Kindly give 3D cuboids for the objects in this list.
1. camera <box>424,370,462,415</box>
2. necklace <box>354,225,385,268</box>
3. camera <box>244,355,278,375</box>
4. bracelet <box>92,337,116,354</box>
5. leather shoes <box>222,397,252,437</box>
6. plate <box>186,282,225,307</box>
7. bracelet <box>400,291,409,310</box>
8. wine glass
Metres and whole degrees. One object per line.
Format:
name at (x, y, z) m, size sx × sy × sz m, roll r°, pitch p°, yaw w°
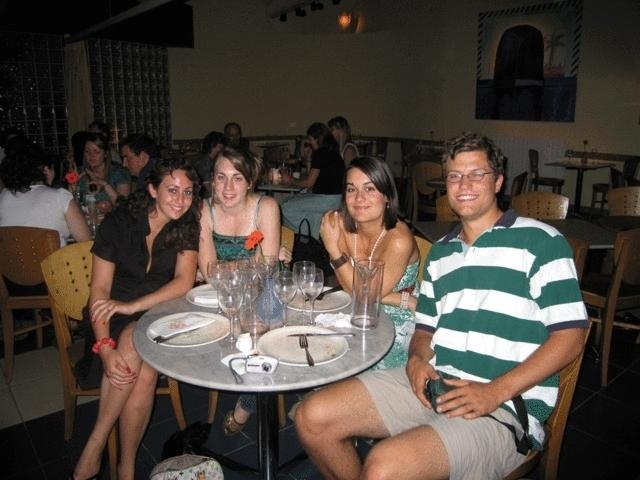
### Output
camera at (0.518, 0.649, 2.032) m, size 0.115 × 0.170 × 0.154 m, roll 6°, pitch 38°, yaw 44°
necklace at (0.278, 0.064, 2.653) m, size 0.125 × 0.264 × 0.055 m, roll 0°, pitch -16°, yaw 15°
camera at (-0.237, 0.495, 1.822) m, size 0.105 × 0.066 × 0.035 m, roll -1°, pitch -14°, yaw 6°
bracelet at (-1.085, 0.529, 2.303) m, size 0.085 × 0.035 × 0.102 m, roll -42°, pitch -37°, yaw 12°
leather shoes at (-0.489, 1.054, 2.730) m, size 0.110 × 0.130 × 0.388 m, roll -32°, pitch -13°, yaw -37°
plate at (-0.599, 0.288, 2.376) m, size 0.141 × 0.023 × 0.130 m, roll 26°, pitch 28°, yaw 35°
bracelet at (0.454, 0.324, 2.482) m, size 0.054 × 0.080 × 0.028 m, roll -2°, pitch -10°, yaw -3°
wine glass at (-0.294, 0.247, 2.061) m, size 0.358 × 0.306 × 0.410 m, roll 0°, pitch -4°, yaw -3°
